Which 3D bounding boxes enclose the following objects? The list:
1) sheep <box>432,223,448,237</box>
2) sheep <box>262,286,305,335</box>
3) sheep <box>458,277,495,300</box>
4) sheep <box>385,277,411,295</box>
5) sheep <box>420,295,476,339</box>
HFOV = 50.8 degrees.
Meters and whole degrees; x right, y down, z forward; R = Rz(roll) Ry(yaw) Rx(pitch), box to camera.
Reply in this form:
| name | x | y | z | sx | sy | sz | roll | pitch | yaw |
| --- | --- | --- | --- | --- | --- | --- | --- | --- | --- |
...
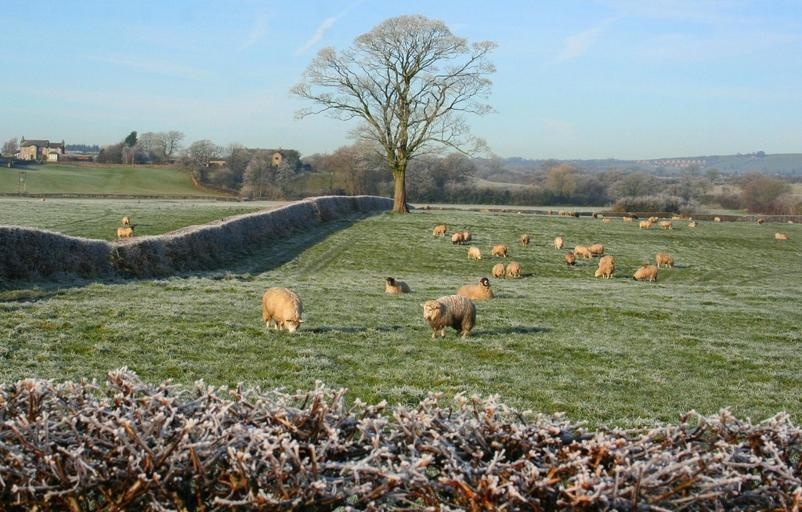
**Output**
| name | x | y | z | sx | sy | sz | roll | pitch | yaw |
| --- | --- | --- | --- | --- | --- | --- | --- | --- | --- |
| sheep | 2.800 | -1.826 | 60.406 | 0.598 | 0.837 | 1.516 | 3 | 10 | 3 |
| sheep | -3.795 | 1.761 | 27.073 | 0.771 | 1.306 | 1.732 | -5 | 12 | -42 |
| sheep | 3.109 | 1.378 | 34.753 | 1.376 | 0.833 | 0.945 | 0 | 3 | 43 |
| sheep | -0.176 | 1.293 | 35.909 | 1.124 | 0.575 | 1.788 | 6 | 9 | 18 |
| sheep | 1.509 | 2.025 | 27.674 | 2.100 | 1.410 | 1.012 | 0 | -2 | -37 |
